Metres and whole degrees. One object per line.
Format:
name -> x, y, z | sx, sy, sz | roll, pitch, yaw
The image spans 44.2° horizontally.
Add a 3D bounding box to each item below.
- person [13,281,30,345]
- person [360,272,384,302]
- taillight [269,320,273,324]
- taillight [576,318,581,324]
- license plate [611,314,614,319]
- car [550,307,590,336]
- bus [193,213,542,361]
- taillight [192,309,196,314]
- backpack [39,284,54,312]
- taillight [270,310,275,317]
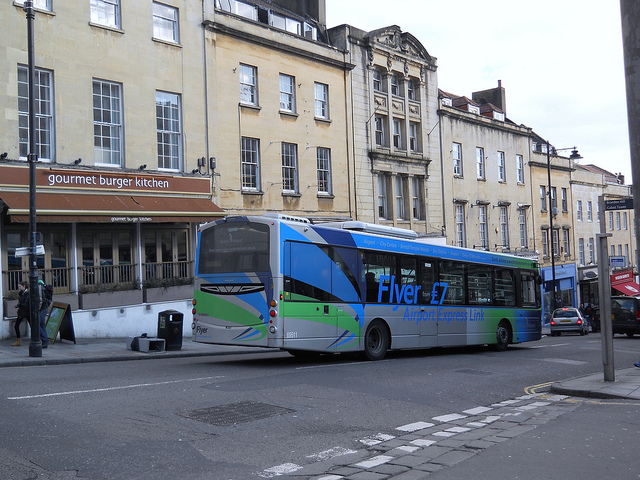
person -> -9.043, 2.306, 23.896 | 0.391, 1.946, 1.573 | 1, 2, -21
person -> 1.425, 1.352, 22.179 | 0.382, 0.750, 0.732 | -7, -10, 40
taillight -> -1.236, 2.102, 19.891 | 0.088, 0.099, 0.017 | 2, 2, 14
taillight -> 13.716, 4.367, 41.831 | 0.220, 0.183, 0.380 | 0, -10, -3
license plate -> 14.325, 3.814, 38.515 | 0.062, 0.227, 0.319 | 2, 1, 20
car -> 13.539, 4.493, 43.001 | 1.209, 1.126, 2.262 | -2, 1, 19
bus -> 2.684, 1.873, 25.763 | 3.307, 4.205, 14.517 | -5, -8, 42
taillight -> -3.390, 1.966, 21.200 | 0.066, 0.105, 0.166 | 1, 2, -23
backpack -> -8.264, 1.772, 23.908 | 0.406, 0.618, 0.240 | 1, -11, 36
taillight -> -1.195, 1.886, 19.870 | 0.163, 0.203, 0.056 | -2, -2, 4
